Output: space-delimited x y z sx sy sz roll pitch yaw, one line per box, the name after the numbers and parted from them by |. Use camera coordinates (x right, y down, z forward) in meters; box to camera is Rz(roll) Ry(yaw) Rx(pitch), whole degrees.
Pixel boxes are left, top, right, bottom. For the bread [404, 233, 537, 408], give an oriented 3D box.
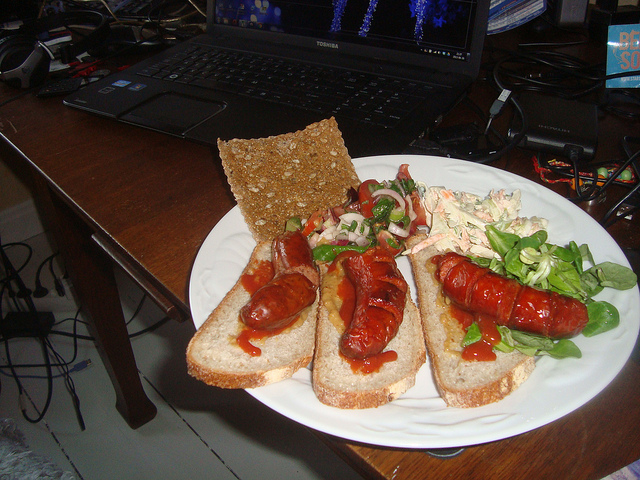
0.562 0.264 1.804 0.370 0.103 0.706 -11 40 4 | bread

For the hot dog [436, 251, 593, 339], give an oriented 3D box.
0.644 0.205 1.631 0.415 0.135 0.218 18 63 21 | hot dog

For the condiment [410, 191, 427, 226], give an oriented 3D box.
0.421 -0.135 2.047 0.050 0.138 0.070 -17 35 -27 | condiment

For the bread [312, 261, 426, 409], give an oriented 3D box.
0.186 0.247 1.798 0.394 0.129 0.756 6 49 -1 | bread

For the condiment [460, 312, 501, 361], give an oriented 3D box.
0.553 0.336 1.636 0.157 0.103 0.208 8 20 2 | condiment

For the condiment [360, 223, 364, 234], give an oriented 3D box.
0.174 -0.047 2.000 0.020 0.041 0.010 0 -6 1 | condiment

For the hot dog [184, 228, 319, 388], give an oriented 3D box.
-0.212 0.286 1.773 0.392 0.199 0.615 14 68 1 | hot dog

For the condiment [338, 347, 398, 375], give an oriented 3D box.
0.173 0.414 1.611 0.183 0.070 0.140 1 23 3 | condiment

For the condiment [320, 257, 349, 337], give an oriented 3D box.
0.049 0.209 1.795 0.192 0.181 0.214 -1 25 -3 | condiment
